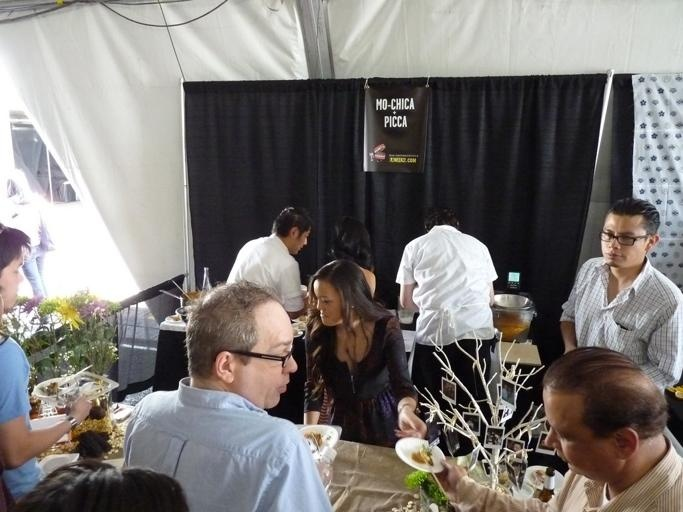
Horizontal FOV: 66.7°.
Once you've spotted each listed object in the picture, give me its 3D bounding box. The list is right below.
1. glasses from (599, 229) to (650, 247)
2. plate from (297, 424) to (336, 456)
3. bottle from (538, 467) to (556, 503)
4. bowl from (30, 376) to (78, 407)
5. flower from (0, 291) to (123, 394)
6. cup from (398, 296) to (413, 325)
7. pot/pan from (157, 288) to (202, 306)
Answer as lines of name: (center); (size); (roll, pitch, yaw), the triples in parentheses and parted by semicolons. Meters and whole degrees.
glasses: (1.601, -0.097, 2.929); (0.235, 0.082, 0.095); (4, 8, 31)
plate: (-0.091, 0.774, 2.194); (0.181, 0.039, 0.245); (0, 6, -4)
bottle: (0.784, 0.911, 1.975); (0.044, 0.089, 0.045); (9, -1, 0)
bowl: (-1.261, 0.600, 2.288); (0.205, 0.122, 0.102); (1, 7, 1)
flower: (-1.338, 0.333, 2.667); (0.445, 0.601, 0.529); (2, 5, 38)
cup: (0.491, 0.442, 3.997); (0.145, 0.134, 0.170); (0, -2, 2)
pot/pan: (-1.344, 0.328, 4.219); (0.320, 0.155, 0.151); (4, 12, -8)
